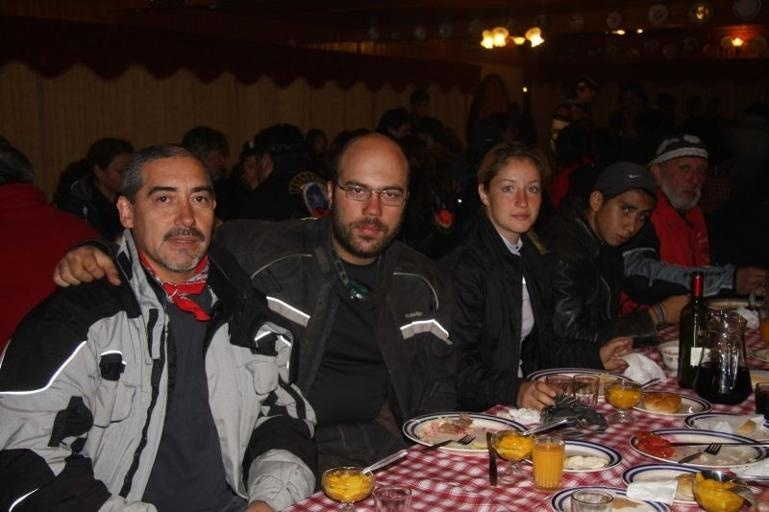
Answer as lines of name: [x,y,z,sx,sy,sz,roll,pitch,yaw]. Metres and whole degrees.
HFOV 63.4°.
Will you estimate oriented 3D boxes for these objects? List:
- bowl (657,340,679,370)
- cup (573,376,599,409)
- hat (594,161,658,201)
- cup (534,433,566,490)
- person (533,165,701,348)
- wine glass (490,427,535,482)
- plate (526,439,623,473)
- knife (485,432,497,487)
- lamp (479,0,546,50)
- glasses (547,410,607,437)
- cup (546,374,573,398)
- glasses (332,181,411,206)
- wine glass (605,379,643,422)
bowl: [1.617,0.565,3.534,0.136,0.090,0.137,-3,7,0]
cup: [0.939,0.655,2.979,0.150,0.151,0.145,0,-9,0]
hat: [1.705,-0.535,4.458,0.267,0.195,0.359,11,4,-30]
cup: [0.630,0.783,2.390,0.120,0.190,0.183,-2,2,13]
person: [1.505,-0.121,4.607,1.035,1.335,1.246,-13,17,-38]
wine glass: [0.497,0.776,2.477,0.183,0.149,0.162,-4,11,-27]
plate: [0.824,0.814,2.507,0.225,0.025,0.228,0,11,22]
knife: [0.436,0.797,2.491,0.029,0.193,0.027,-1,-12,-22]
lamp: [2.392,-4.233,11.611,0.914,0.305,0.880,-3,5,-14]
glasses: [0.846,0.733,2.756,0.199,0.052,0.124,-5,19,6]
cup: [0.837,0.611,2.945,0.091,0.082,0.090,1,-6,0]
glasses: [-0.068,-0.324,3.322,0.360,0.136,0.067,-3,2,0]
wine glass: [1.102,0.668,2.877,0.178,0.176,0.169,-1,3,-4]
